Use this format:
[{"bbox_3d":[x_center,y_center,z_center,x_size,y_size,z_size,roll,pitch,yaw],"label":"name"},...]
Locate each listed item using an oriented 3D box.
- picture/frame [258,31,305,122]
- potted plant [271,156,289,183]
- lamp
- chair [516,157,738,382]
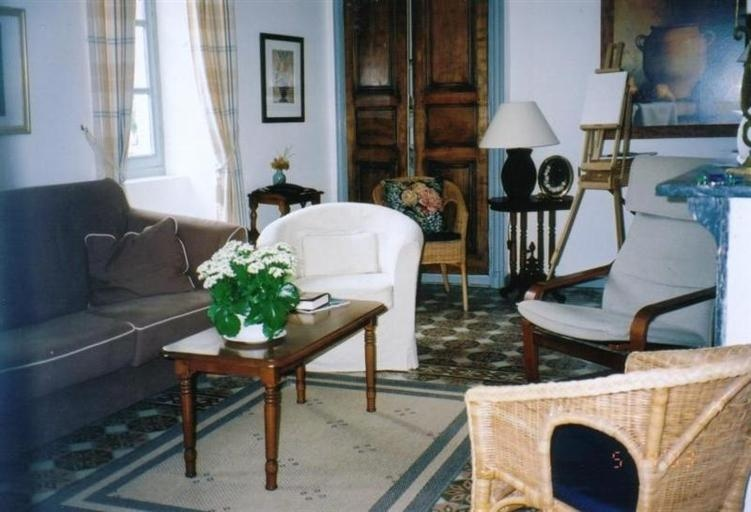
[{"bbox_3d":[-0.908,-1.724,5.857,0.111,0.829,0.638,8,16,30],"label":"picture/frame"},{"bbox_3d":[-0.906,-0.813,5.733,0.172,0.264,0.452,-3,13,-9],"label":"potted plant"},{"bbox_3d":[1.254,-0.946,5.447,0.847,0.894,0.824,-5,13,1],"label":"lamp"},{"bbox_3d":[1.554,-0.011,3.900,1.480,1.433,1.020,-8,8,-36],"label":"chair"}]
